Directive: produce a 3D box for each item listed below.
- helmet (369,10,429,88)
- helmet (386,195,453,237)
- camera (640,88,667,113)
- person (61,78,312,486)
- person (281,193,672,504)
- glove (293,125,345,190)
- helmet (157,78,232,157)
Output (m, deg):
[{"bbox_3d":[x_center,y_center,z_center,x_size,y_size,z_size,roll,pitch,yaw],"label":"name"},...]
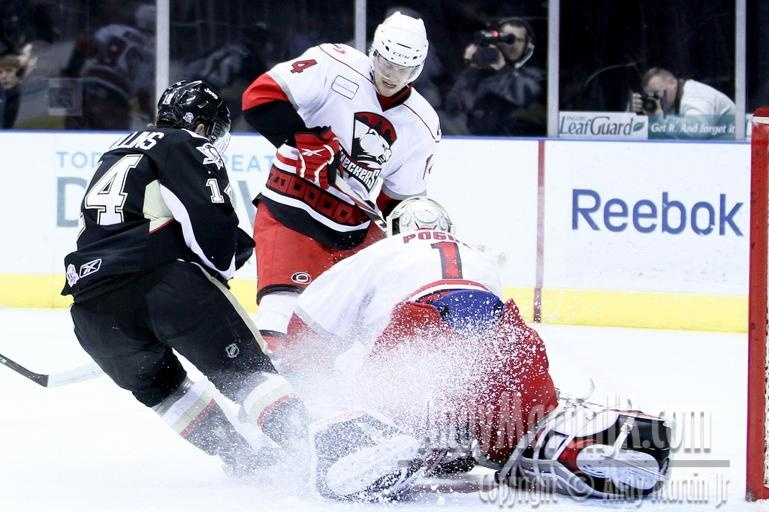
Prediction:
[{"bbox_3d":[0.024,-1.269,7.297,0.365,0.440,0.479,20,17,37],"label":"helmet"},{"bbox_3d":[0.182,-0.210,6.704,0.232,0.273,0.249,4,-5,-5],"label":"helmet"},{"bbox_3d":[2.188,-1.261,9.808,0.219,0.202,0.171,-1,2,0],"label":"camera"},{"bbox_3d":[-1.113,0.244,6.424,1.229,1.839,0.311,0,9,1],"label":"person"},{"bbox_3d":[0.420,0.466,6.515,1.933,1.505,0.982,-1,9,-5],"label":"person"},{"bbox_3d":[-0.424,-0.606,7.343,0.263,0.368,0.307,-9,20,-13],"label":"glove"},{"bbox_3d":[-1.082,-0.774,6.763,0.418,0.398,0.329,9,3,-43],"label":"helmet"}]
